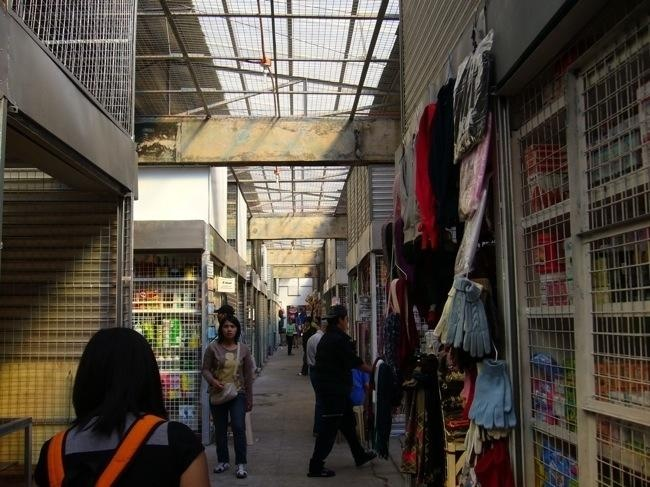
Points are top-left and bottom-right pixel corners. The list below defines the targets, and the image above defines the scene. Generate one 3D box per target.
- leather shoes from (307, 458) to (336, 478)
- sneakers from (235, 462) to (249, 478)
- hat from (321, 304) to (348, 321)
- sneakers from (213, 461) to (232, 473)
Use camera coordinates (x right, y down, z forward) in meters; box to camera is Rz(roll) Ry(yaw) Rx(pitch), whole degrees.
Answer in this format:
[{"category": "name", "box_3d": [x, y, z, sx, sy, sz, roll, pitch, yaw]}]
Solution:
[{"category": "leather shoes", "box_3d": [-0.055, 2.904, 7.464, 0.393, 0.338, 0.165, -1, -6, -5]}, {"category": "sneakers", "box_3d": [-1.055, 2.885, 7.301, 0.092, 0.140, 0.314, 1, -15, -6]}, {"category": "hat", "box_3d": [0.155, 0.937, 7.868, 0.236, 0.162, 0.177, 0, -2, -43]}, {"category": "sneakers", "box_3d": [-1.345, 2.921, 7.491, 0.085, 0.122, 0.276, -1, -17, 4]}]
